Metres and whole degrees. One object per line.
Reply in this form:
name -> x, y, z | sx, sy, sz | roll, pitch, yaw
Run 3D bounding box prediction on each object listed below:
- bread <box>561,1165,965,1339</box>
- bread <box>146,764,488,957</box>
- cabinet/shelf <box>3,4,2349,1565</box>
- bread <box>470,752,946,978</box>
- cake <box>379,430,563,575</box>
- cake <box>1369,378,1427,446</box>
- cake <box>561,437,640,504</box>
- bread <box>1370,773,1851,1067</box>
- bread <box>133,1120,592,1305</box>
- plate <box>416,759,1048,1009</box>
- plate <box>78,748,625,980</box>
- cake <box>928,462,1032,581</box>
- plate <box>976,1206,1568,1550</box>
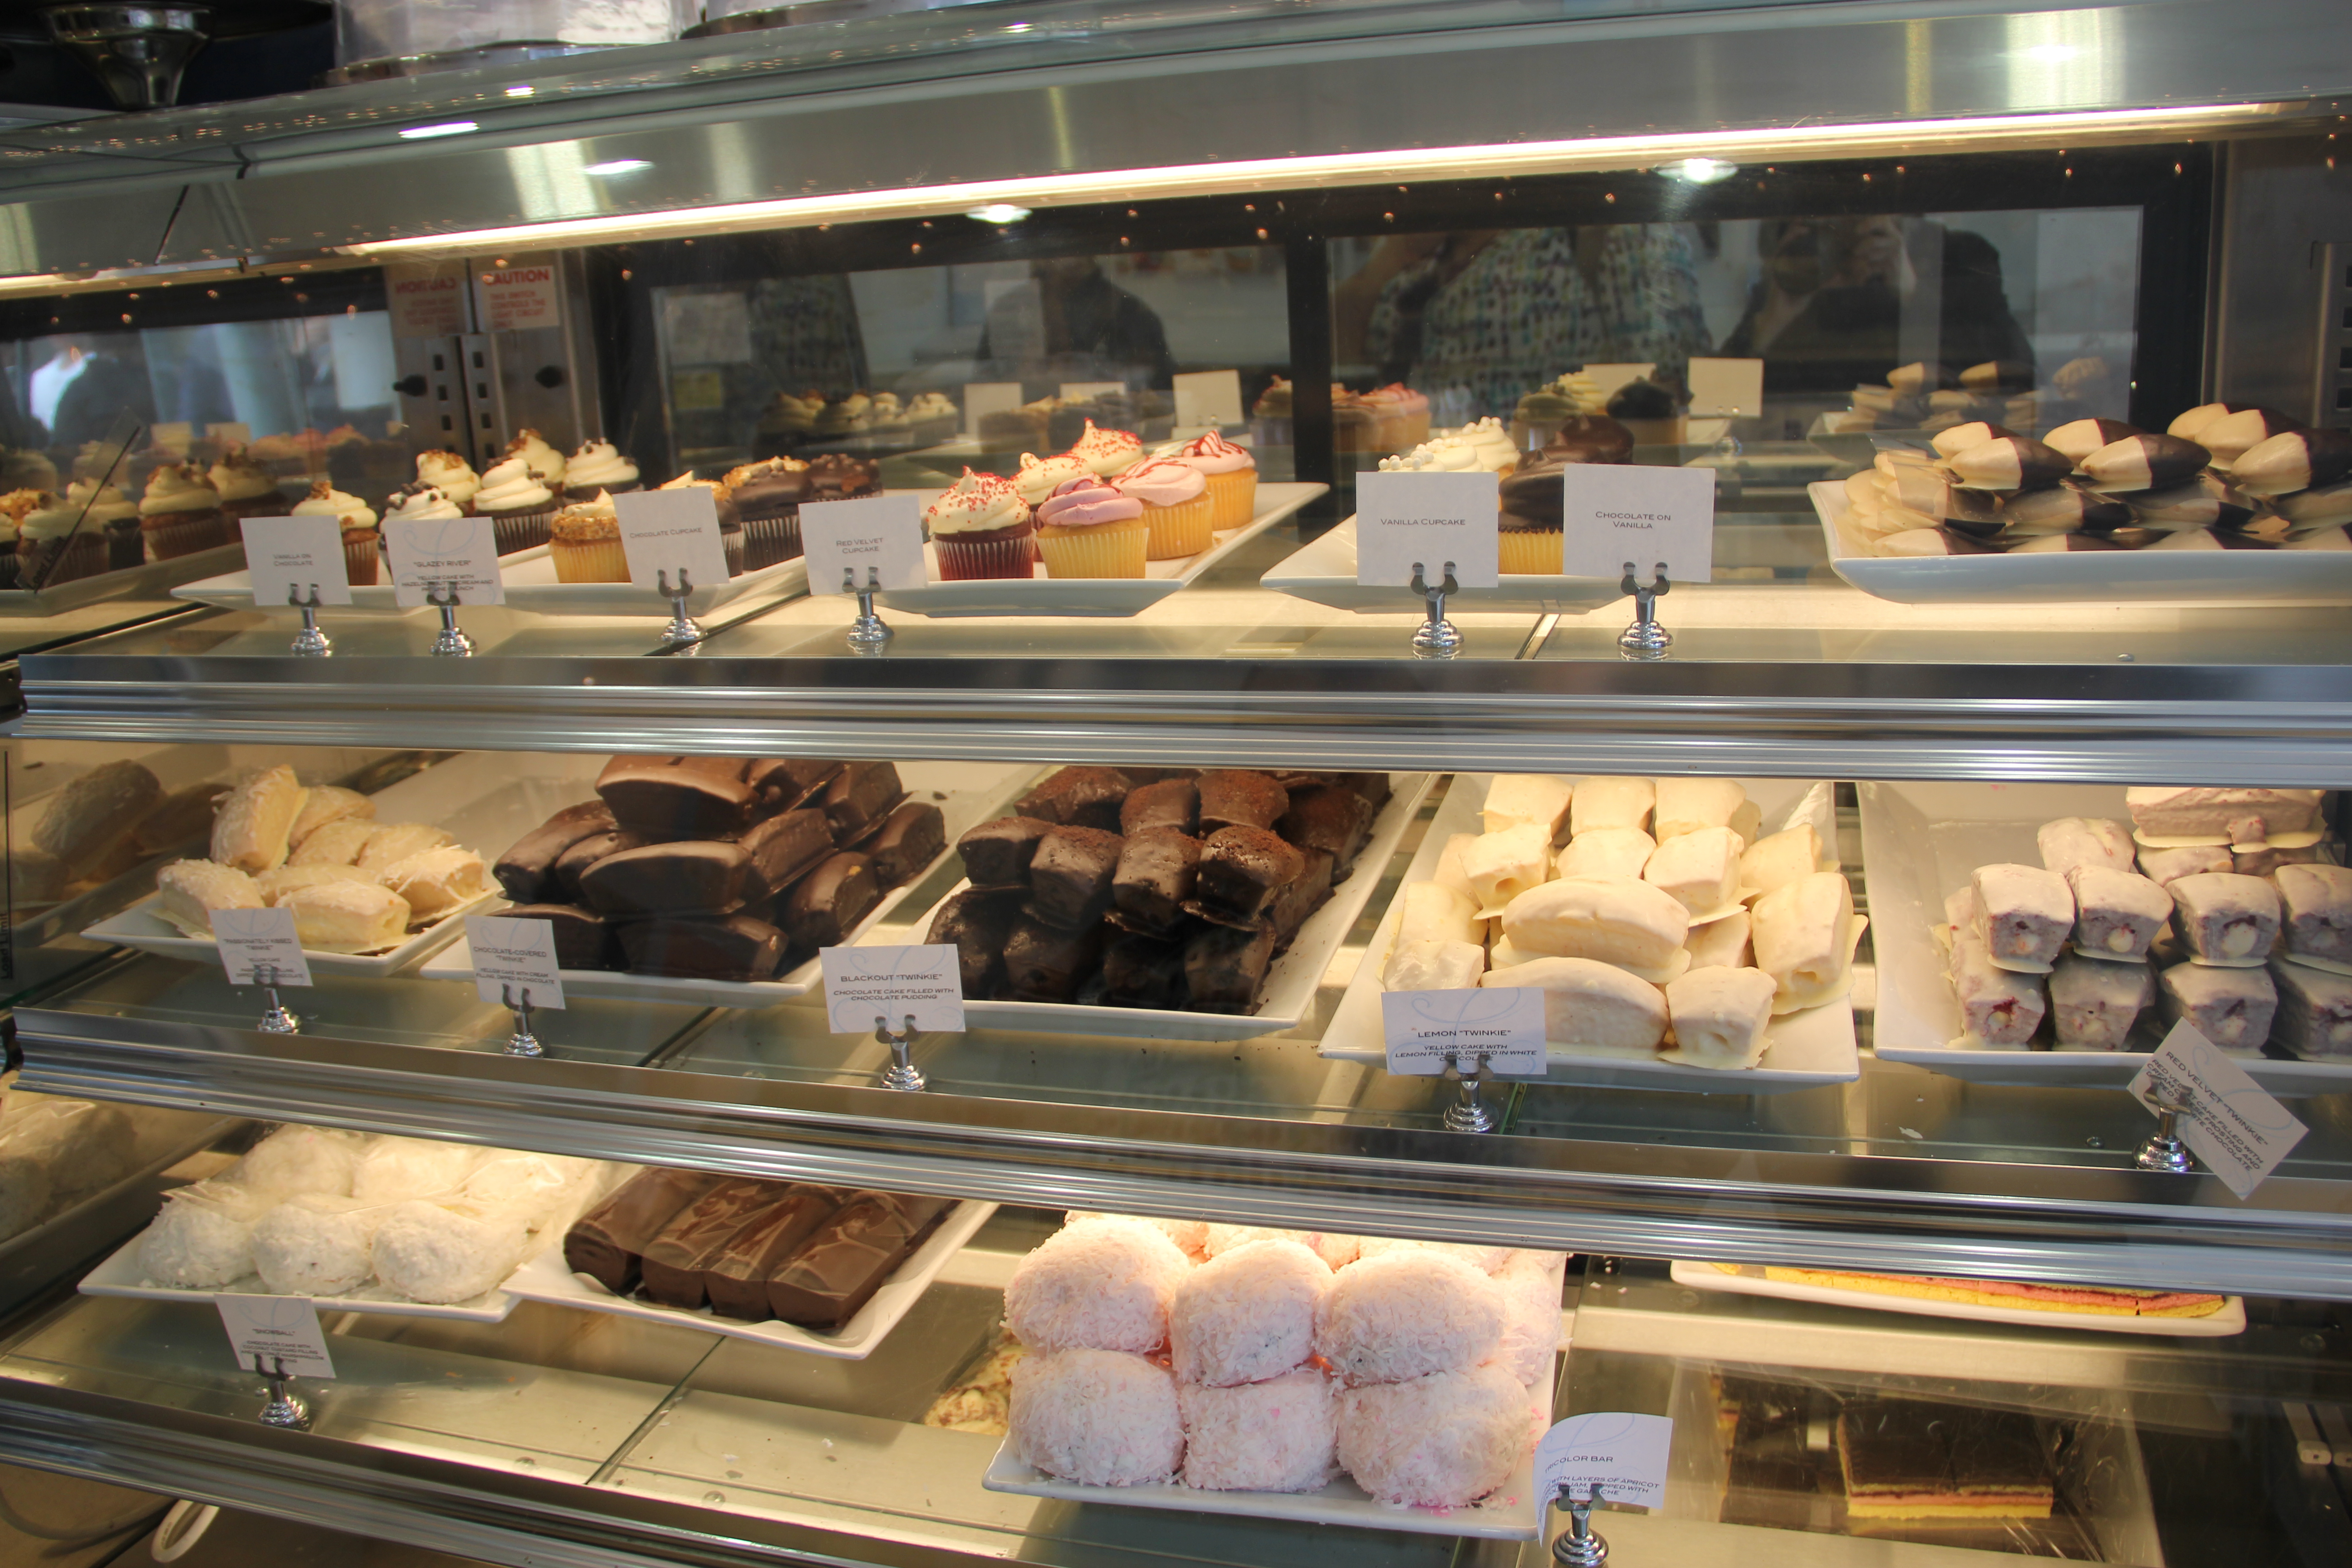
bread -> -0.602, 0.659, 2.371 | 0.450, 0.075, 0.336 | 5, 14, 12
bread -> -1.289, 0.135, 2.489 | 0.449, 0.107, 0.315 | 16, 39, 25
cabinet/shelf -> -0.088, 0.095, 2.125 | 3.113, 1.992, 0.715 | -2, 22, 6
bread -> -0.635, 0.108, 2.287 | 0.541, 0.114, 0.365 | 5, 25, 18
cake -> -0.985, -0.399, 2.380 | 0.280, 0.150, 0.225 | -4, 1, -15
cake -> 0.290, -0.475, 2.150 | 0.093, 0.076, 0.030 | 5, 19, 21
cake -> -0.836, -0.451, 2.396 | 0.133, 0.054, 0.106 | -3, 4, -15
bread -> 0.569, 0.100, 2.048 | 0.564, 0.113, 0.440 | 0, 26, 15
bread -> -1.255, 0.668, 2.545 | 0.505, 0.064, 0.389 | 3, 14, 8
plate -> -0.624, 0.118, 2.279 | 0.514, 0.110, 0.484 | 3, 14, 20
plate -> -1.205, 0.109, 2.491 | 0.484, 0.060, 0.515 | 3, 24, 13
cake -> -0.246, -0.317, 2.093 | 0.191, 0.115, 0.147 | -1, 10, -4
plate -> 0.146, 0.757, 2.138 | 0.676, 0.124, 0.472 | 1, 7, 12
